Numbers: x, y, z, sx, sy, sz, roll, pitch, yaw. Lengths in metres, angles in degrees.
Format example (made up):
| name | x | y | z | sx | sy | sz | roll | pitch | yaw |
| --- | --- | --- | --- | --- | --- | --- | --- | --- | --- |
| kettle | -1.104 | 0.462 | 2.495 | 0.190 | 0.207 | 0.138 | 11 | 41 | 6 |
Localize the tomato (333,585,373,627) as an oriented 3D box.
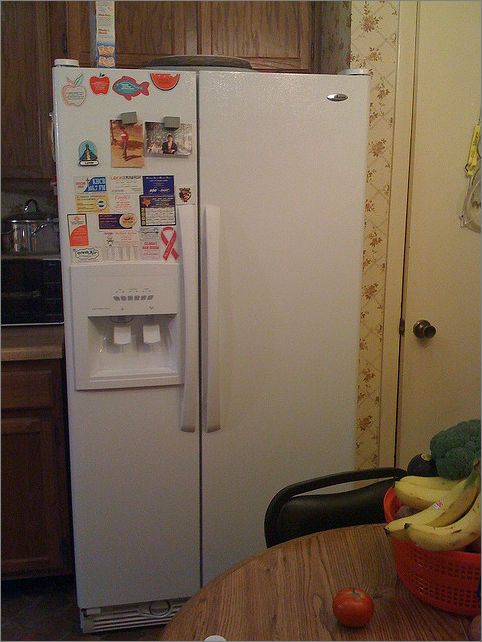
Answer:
| name | x | y | z | sx | sy | sz | roll | pitch | yaw |
| --- | --- | --- | --- | --- | --- | --- | --- | --- | --- |
| tomato | 0.164 | 0.423 | 0.836 | 0.048 | 0.060 | 0.054 | -1 | 2 | 26 |
